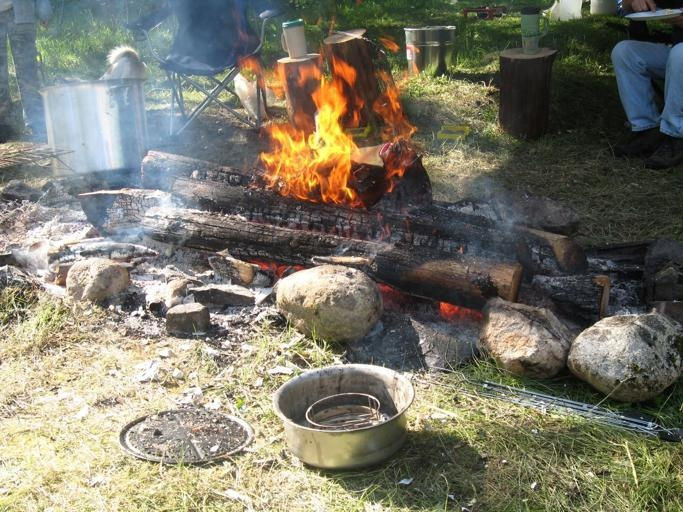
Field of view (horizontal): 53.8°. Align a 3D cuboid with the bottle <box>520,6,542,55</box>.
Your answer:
[{"bbox_3d":[2.120,-2.544,7.542,0.197,0.486,0.273,1,20,13],"label":"bottle"}]

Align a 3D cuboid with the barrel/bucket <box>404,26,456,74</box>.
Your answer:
[{"bbox_3d":[1.283,-2.972,9.657,0.660,0.707,0.673,-2,26,1],"label":"barrel/bucket"}]

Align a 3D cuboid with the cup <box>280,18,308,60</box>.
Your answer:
[{"bbox_3d":[-0.525,-2.424,7.470,0.257,0.404,0.389,-5,20,-4],"label":"cup"}]
